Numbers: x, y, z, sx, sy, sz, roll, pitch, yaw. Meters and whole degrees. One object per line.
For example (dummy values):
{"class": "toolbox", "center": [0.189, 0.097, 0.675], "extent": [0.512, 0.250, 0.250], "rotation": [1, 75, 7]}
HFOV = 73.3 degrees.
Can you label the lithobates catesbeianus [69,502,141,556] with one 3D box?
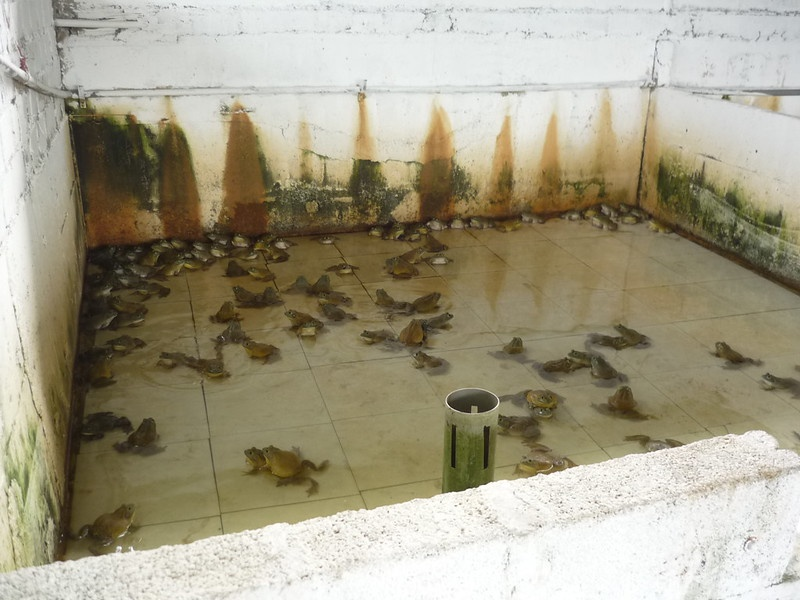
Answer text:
{"class": "lithobates catesbeianus", "center": [-1.412, 1.087, 2.620], "extent": [0.261, 0.159, 0.292], "rotation": [16, 23, 40]}
